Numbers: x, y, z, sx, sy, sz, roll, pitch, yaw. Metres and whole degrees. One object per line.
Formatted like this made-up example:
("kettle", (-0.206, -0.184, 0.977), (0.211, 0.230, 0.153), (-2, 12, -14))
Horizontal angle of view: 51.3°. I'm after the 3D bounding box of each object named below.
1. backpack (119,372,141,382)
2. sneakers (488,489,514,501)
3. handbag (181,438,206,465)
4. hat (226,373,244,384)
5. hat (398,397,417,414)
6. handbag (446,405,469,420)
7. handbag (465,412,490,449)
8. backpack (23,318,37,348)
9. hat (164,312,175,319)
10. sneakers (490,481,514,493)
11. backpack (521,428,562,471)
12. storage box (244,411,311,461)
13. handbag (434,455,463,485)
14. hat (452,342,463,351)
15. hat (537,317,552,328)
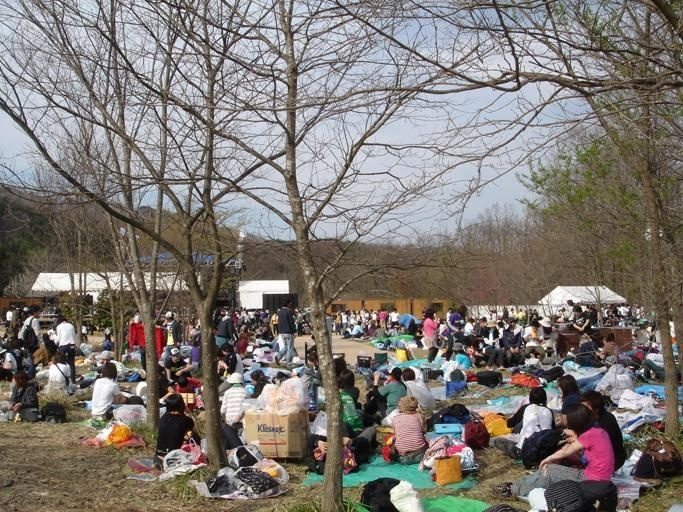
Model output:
("backpack", (-5.321, 3.060, 17.950), (0.257, 0.161, 0.344), (0, -4, 29))
("sneakers", (2.209, 3.299, 9.903), (0.321, 0.249, 0.115), (-3, 1, 20))
("handbag", (-2.291, 3.030, 11.057), (0.211, 0.362, 0.349), (-33, 1, -29))
("hat", (-2.164, 2.480, 14.427), (0.294, 0.124, 0.327), (2, -2, 5))
("hat", (1.066, 2.438, 11.686), (0.258, 0.291, 0.225), (0, -16, 38))
("handbag", (2.117, 2.840, 12.934), (0.287, 0.132, 0.304), (2, -4, 16))
("handbag", (2.319, 2.997, 12.276), (0.474, 0.379, 0.778), (-3, 9, 17))
("backpack", (-8.225, 2.130, 18.962), (0.418, 0.793, 0.515), (3, -6, -27))
("hat", (-4.897, 1.697, 20.288), (0.250, 0.326, 0.339), (4, -7, -20))
("sneakers", (2.241, 3.204, 9.912), (0.192, 0.075, 0.134), (-3, 2, -7))
("backpack", (3.027, 2.920, 10.703), (0.614, 0.497, 0.239), (-27, -51, 13))
("storage box", (-1.044, 2.852, 11.644), (0.783, 0.638, 0.815), (0, -3, 5))
("handbag", (1.562, 3.165, 10.529), (0.338, 0.345, 0.131), (-1, -6, -18))
("hat", (3.350, 2.638, 20.693), (0.242, 0.223, 0.204), (12, -4, 45))
("hat", (5.875, 1.926, 20.673), (0.468, 0.133, 0.474), (-5, 4, -37))
